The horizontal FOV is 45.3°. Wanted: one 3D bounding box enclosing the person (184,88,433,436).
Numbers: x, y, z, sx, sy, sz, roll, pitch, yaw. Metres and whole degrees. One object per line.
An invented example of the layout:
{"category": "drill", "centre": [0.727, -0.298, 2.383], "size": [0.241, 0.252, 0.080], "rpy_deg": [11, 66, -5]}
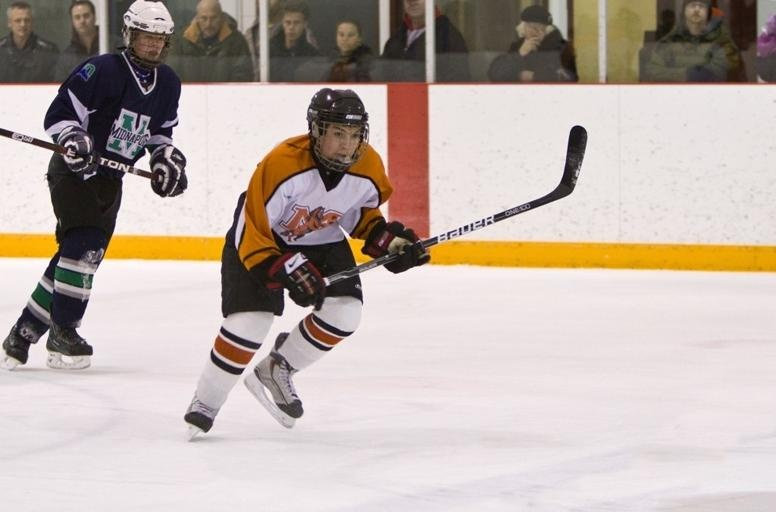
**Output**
{"category": "person", "centre": [-0.332, 0.082, 3.690], "size": [0.952, 1.428, 0.807], "rpy_deg": [2, 9, -12]}

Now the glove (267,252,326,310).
{"category": "glove", "centre": [-0.343, 0.099, 3.547], "size": [0.229, 0.162, 0.104], "rpy_deg": [42, -15, -7]}

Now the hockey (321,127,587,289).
{"category": "hockey", "centre": [0.500, -0.270, 5.516], "size": [2.448, 0.186, 0.474], "rpy_deg": [-18, 52, -14]}

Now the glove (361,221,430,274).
{"category": "glove", "centre": [0.037, -0.048, 3.812], "size": [0.227, 0.224, 0.103], "rpy_deg": [42, 10, 3]}

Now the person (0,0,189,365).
{"category": "person", "centre": [-1.355, -0.306, 4.233], "size": [0.857, 1.679, 0.377], "rpy_deg": [-3, 14, -12]}

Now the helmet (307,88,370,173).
{"category": "helmet", "centre": [-0.192, -0.483, 3.564], "size": [0.226, 0.313, 0.149], "rpy_deg": [1, 13, 6]}

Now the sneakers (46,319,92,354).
{"category": "sneakers", "centre": [-1.468, 0.388, 4.306], "size": [0.308, 0.178, 0.108], "rpy_deg": [1, -5, 40]}

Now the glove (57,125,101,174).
{"category": "glove", "centre": [-1.335, -0.458, 4.046], "size": [0.099, 0.146, 0.201], "rpy_deg": [-18, 35, -18]}
